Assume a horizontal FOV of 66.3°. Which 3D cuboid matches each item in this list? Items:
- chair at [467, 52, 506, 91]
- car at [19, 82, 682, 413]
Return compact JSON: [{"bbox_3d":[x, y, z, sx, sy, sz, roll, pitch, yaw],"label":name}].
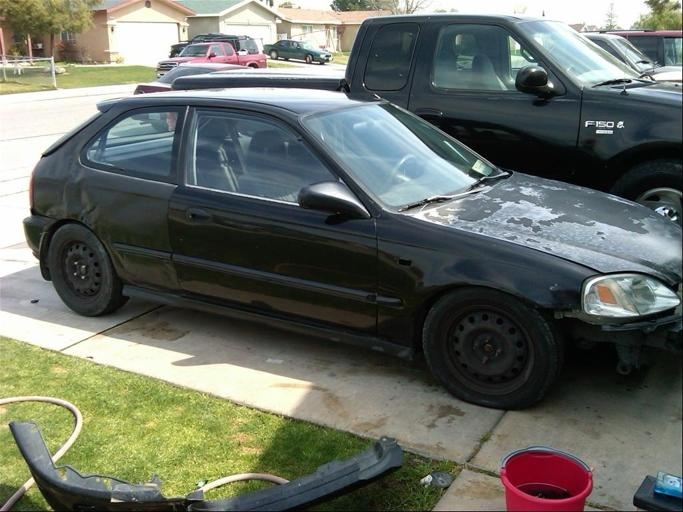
[{"bbox_3d":[1.499,-1.908,5.521,0.348,0.288,0.403,0,9,27],"label":"chair"},{"bbox_3d":[-0.044,-0.226,4.001,4.777,2.030,1.250,8,25,23],"label":"car"}]
